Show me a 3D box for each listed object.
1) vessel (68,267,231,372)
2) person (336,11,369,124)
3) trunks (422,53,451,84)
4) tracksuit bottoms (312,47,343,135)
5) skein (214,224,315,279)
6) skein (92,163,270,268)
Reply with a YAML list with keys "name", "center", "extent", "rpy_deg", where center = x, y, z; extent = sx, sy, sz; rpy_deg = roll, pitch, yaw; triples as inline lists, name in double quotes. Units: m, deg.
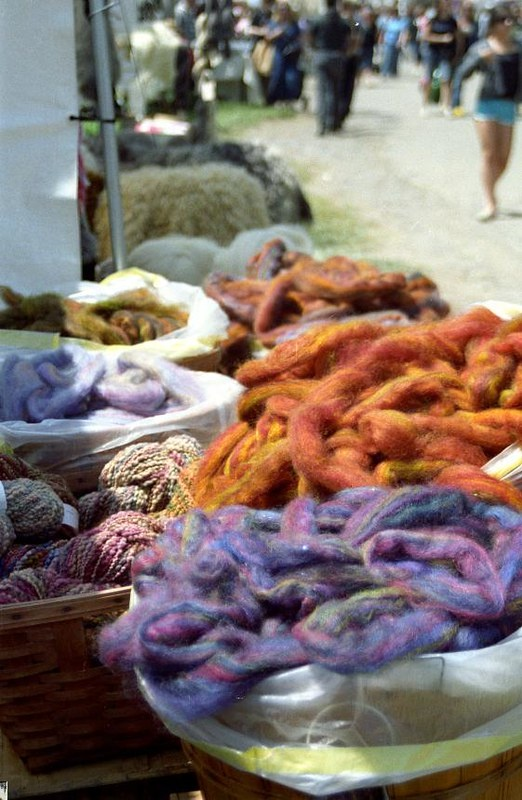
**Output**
- name: "vessel"
  center: [-0.291, -0.270, 2.410]
  extent: [0.380, 0.128, 0.407]
  rpy_deg: [-18, 34, -39]
- name: "person"
  center: [0.484, -1.878, 4.428]
  extent: [0.153, 0.590, 0.165]
  rpy_deg: [29, 49, 30]
- name: "trunks"
  center: [1.022, -1.918, 4.519]
  extent: [0.202, 0.066, 0.163]
  rpy_deg: [9, 68, 0]
- name: "tracksuit bottoms"
  center: [0.408, -1.779, 4.470]
  extent: [0.183, 0.446, 0.132]
  rpy_deg: [-21, 53, -16]
- name: "skein"
  center: [0.012, -0.657, 3.285]
  extent: [0.464, 0.147, 0.246]
  rpy_deg: [-26, 14, -32]
- name: "skein"
  center: [-0.371, -0.865, 3.654]
  extent: [0.936, 0.384, 0.505]
  rpy_deg: [2, 12, 8]
